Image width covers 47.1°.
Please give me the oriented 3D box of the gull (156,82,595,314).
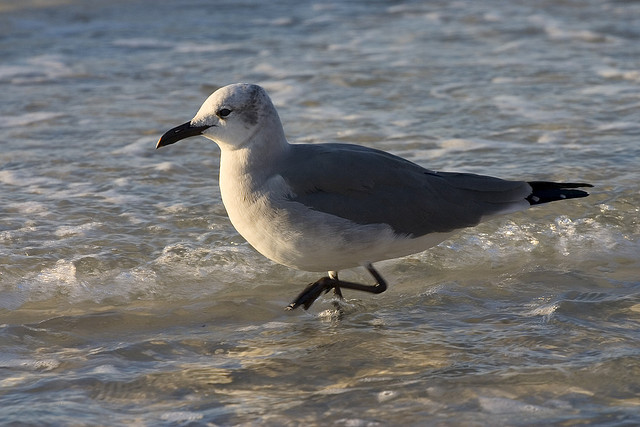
[{"bbox_3d":[0.235,-0.307,6.925,3.069,1.820,0.942,-7,29,-5],"label":"gull"}]
